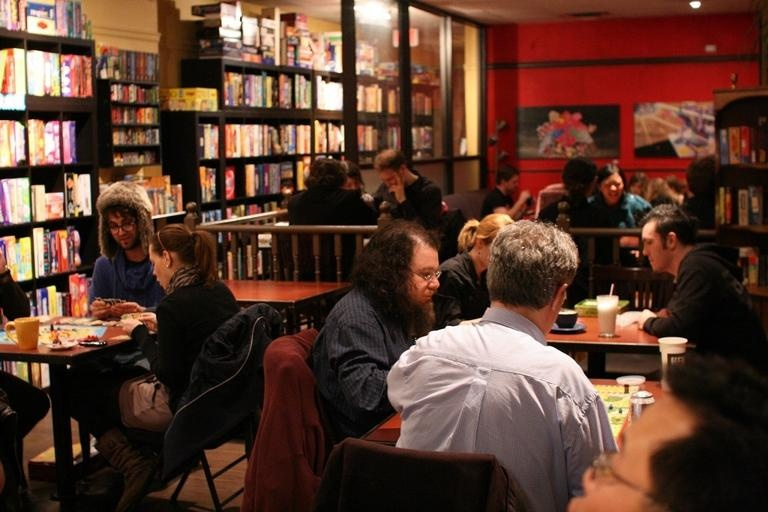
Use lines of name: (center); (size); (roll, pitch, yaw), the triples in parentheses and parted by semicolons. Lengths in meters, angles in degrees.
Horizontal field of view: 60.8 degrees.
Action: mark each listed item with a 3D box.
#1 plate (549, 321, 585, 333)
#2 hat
plate: (0.931, 0.368, 3.307); (0.102, 0.014, 0.100); (-9, 7, -44)
hat: (-1.614, -0.237, 4.100); (0.349, 0.459, 0.373); (-5, -3, 15)
